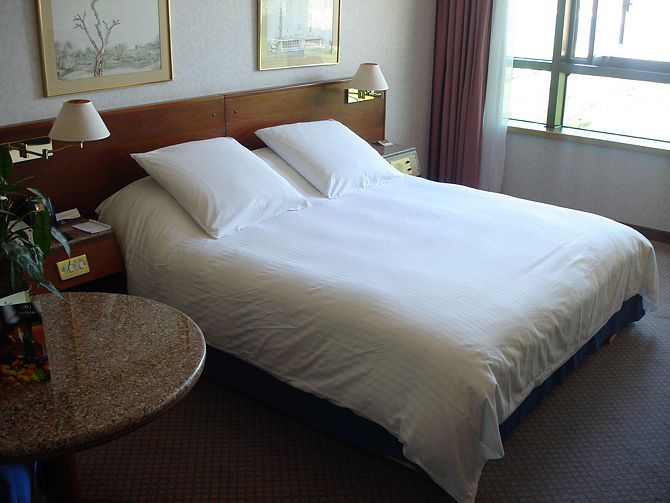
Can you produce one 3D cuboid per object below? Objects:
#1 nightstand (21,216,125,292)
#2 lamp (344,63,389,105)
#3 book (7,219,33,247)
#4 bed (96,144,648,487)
[{"bbox_3d":[-1.381,-0.073,2.781,0.276,0.234,0.400,17,28,28],"label":"nightstand"},{"bbox_3d":[0.254,-1.386,4.356,0.321,0.330,0.482,3,22,0],"label":"lamp"},{"bbox_3d":[-1.438,-0.084,2.409,0.124,0.031,0.121,54,23,22],"label":"book"},{"bbox_3d":[0.046,0.150,2.672,1.912,0.527,1.939,26,40,32],"label":"bed"}]
